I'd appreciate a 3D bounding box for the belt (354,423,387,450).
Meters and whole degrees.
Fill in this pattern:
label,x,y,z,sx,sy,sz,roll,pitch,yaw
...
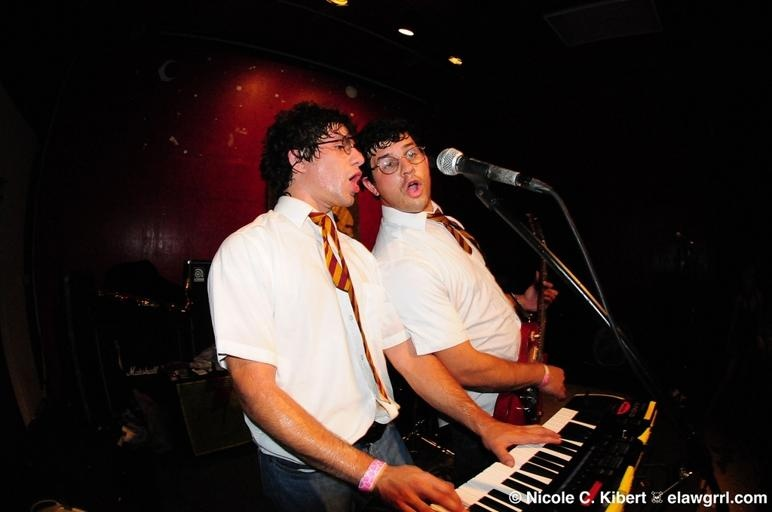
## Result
label,x,y,z,sx,sy,sz,roll,pitch,yaw
belt,-0.070,0.824,2.403,0.128,0.032,0.090,-42,13,-7
